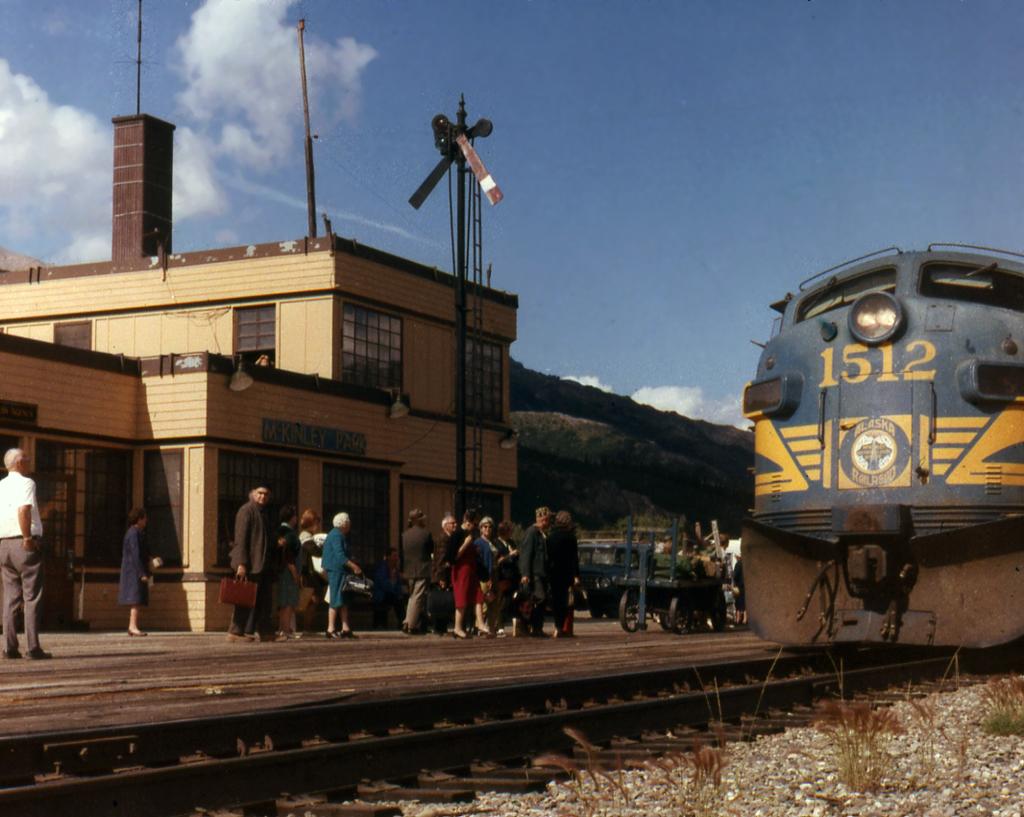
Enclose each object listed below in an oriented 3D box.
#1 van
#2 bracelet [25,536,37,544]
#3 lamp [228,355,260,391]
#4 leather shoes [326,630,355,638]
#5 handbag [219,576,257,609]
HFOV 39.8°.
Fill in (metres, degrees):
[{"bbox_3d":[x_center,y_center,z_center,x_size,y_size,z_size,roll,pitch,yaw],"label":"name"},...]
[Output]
[{"bbox_3d":[2.369,3.886,33.294,1.656,1.667,2.772,-5,0,30],"label":"van"},{"bbox_3d":[-5.115,1.398,14.968,0.061,0.070,0.063,2,-9,-24],"label":"bracelet"},{"bbox_3d":[-4.773,-0.580,24.765,0.405,0.598,0.625,3,-8,-10],"label":"lamp"},{"bbox_3d":[-2.581,3.360,20.972,0.465,0.152,0.178,-5,-11,22],"label":"leather shoes"},{"bbox_3d":[-3.526,2.366,18.346,0.363,0.356,0.699,0,-9,12],"label":"handbag"}]
